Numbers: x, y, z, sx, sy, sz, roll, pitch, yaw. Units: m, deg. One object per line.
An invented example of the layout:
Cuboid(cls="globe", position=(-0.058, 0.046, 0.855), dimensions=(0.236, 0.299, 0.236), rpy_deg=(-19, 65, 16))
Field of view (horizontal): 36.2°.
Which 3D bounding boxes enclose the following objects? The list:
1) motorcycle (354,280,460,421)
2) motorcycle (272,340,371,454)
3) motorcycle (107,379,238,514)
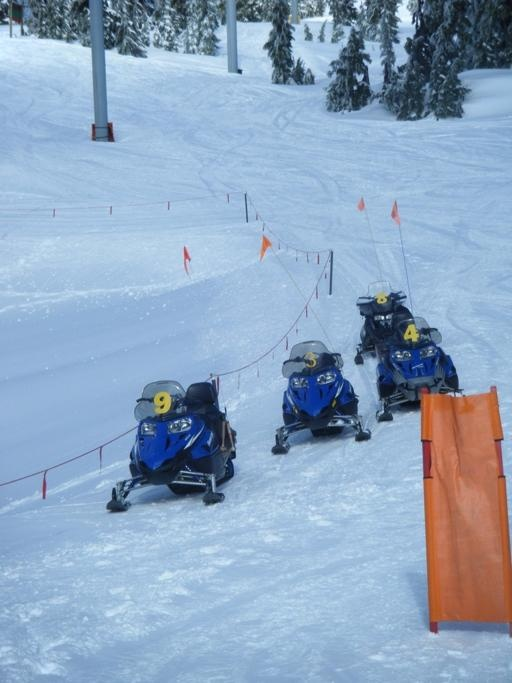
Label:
Cuboid(cls="motorcycle", position=(2.662, 0.204, 14.532), dimensions=(1.457, 1.243, 3.670), rpy_deg=(-4, 10, 1))
Cuboid(cls="motorcycle", position=(1.062, 0.815, 12.676), dimensions=(1.165, 0.970, 2.108), rpy_deg=(-5, -3, 8))
Cuboid(cls="motorcycle", position=(-1.049, 1.333, 10.689), dimensions=(1.475, 1.545, 1.714), rpy_deg=(-10, 4, 21))
